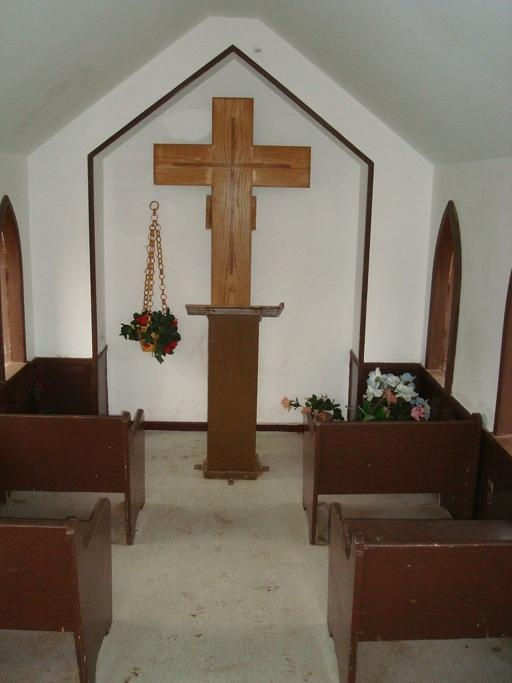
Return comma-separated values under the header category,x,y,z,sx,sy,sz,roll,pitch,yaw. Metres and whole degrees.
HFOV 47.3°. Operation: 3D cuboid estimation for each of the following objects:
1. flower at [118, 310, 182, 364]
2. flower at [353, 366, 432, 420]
category,x,y,z,sx,sy,sz,roll,pitch,yaw
flower,-0.795,-0.044,4.421,0.424,0.378,0.177,-1,10,-11
flower,0.903,0.359,3.881,0.303,0.307,0.383,1,7,10
